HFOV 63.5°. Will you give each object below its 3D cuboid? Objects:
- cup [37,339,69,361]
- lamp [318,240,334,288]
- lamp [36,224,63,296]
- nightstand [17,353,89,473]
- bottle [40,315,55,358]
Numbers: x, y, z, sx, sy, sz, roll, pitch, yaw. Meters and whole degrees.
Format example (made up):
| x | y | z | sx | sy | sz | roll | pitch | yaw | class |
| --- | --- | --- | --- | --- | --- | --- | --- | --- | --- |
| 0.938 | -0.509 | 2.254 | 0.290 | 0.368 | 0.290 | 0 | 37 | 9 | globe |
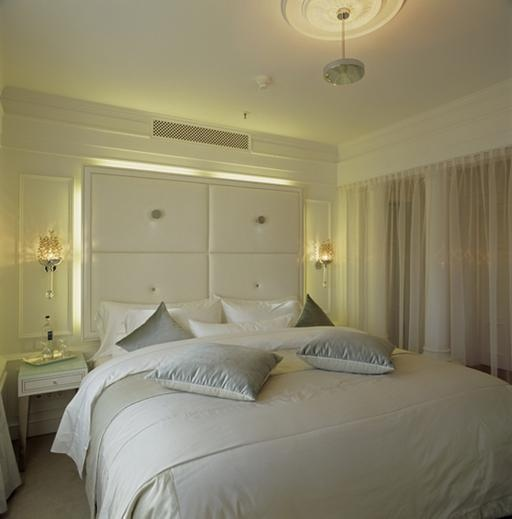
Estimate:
| x | y | z | sx | sy | sz | roll | pitch | yaw | class |
| --- | --- | --- | --- | --- | --- | --- | --- | --- | --- |
| -1.565 | 0.711 | 3.223 | 0.210 | 0.147 | 0.152 | 10 | -19 | -41 | cup |
| 0.780 | 0.029 | 4.686 | 0.130 | 0.536 | 0.129 | -1 | -9 | 26 | lamp |
| -1.628 | 0.035 | 3.292 | 0.184 | 0.554 | 0.166 | -3 | 8 | -26 | lamp |
| -1.531 | 1.080 | 3.140 | 0.446 | 0.643 | 0.444 | 2 | 6 | -24 | nightstand |
| -1.615 | 0.574 | 3.209 | 0.099 | 0.316 | 0.260 | -3 | 8 | -27 | bottle |
